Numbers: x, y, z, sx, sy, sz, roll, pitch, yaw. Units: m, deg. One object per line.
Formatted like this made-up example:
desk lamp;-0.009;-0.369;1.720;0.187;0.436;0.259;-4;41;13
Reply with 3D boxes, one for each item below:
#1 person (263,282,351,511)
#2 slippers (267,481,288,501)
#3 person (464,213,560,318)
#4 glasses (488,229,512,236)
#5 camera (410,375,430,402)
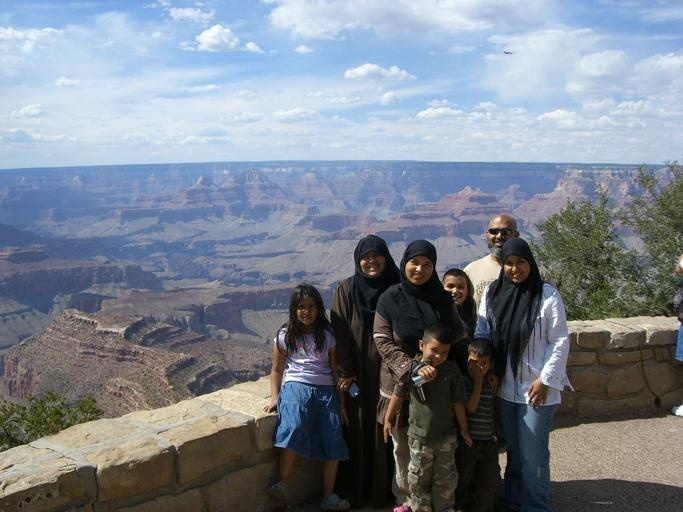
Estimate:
person;-0.251;0.906;3.904;0.551;1.427;0.392;0;-1;-13
slippers;-0.413;1.560;3.745;0.110;0.074;0.174;-3;-32;6
person;1.272;0.008;4.425;0.858;0.670;0.416;2;3;27
glasses;1.230;-0.188;4.373;0.171;0.049;0.043;0;-1;17
camera;0.492;0.829;3.552;0.127;0.157;0.106;-4;-2;-34
